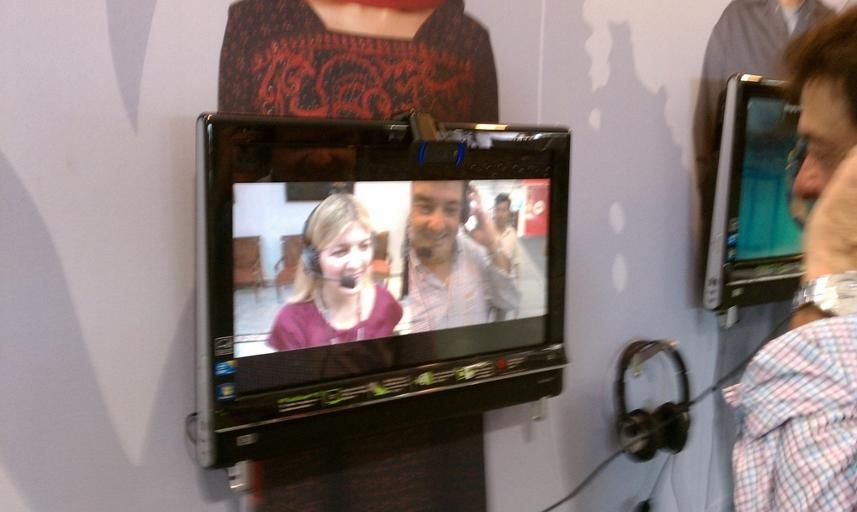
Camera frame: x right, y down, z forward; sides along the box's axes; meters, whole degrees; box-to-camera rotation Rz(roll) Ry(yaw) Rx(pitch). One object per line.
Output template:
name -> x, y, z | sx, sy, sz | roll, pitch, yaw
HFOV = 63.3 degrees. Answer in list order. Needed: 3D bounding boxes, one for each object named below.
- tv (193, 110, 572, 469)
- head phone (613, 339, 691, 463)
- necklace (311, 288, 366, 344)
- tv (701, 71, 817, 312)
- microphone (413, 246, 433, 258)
tv -> -0.082, 0.057, 2.162 | 1.326, 0.991, 0.334 | -5, 9, -37
head phone -> 0.840, 0.618, 2.642 | 0.222, 0.262, 0.277 | -23, -13, 27
necklace -> -0.261, 0.178, 2.044 | 0.129, 0.117, 0.162 | -6, -9, -1
tv -> 1.483, -0.271, 2.887 | 0.964, 0.892, 0.129 | -3, 8, -35
microphone -> -0.018, -0.015, 2.082 | 0.049, 0.030, 0.010 | 5, 3, -17
